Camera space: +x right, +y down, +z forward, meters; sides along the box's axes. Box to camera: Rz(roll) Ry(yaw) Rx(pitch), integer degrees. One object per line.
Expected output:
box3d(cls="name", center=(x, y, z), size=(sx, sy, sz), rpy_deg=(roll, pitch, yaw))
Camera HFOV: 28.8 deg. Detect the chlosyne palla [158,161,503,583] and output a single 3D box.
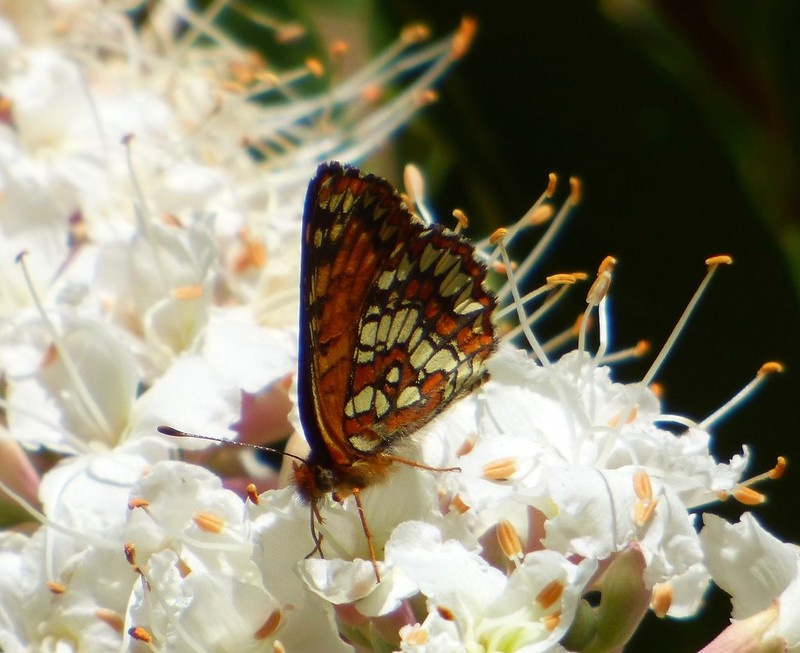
box3d(cls="chlosyne palla", center=(-0.005, 0.053, 1.963), size=(0.294, 0.427, 0.214), rpy_deg=(4, 23, -37))
